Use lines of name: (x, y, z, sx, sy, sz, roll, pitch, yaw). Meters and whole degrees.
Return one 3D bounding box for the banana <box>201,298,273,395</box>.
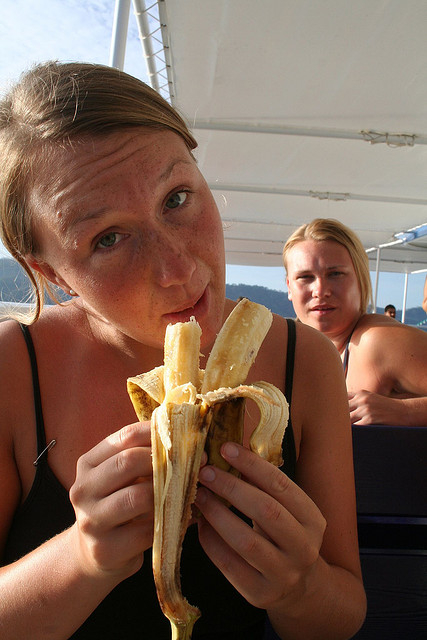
banana: (0.088, 0.056, 1.458, 0.152, 0.137, 0.464, -36, 15, 18)
